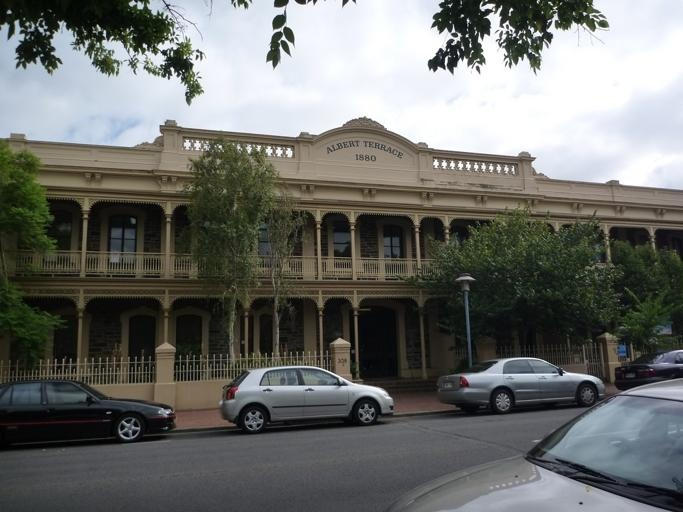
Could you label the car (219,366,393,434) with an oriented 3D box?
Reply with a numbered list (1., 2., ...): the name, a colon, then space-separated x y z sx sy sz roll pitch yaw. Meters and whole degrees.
1. car: -0.944 3.466 15.213 3.704 1.318 1.692 -2 -8 -13
